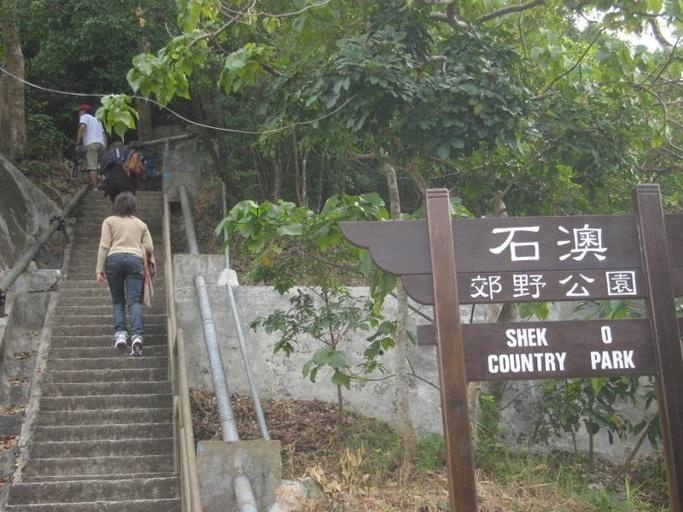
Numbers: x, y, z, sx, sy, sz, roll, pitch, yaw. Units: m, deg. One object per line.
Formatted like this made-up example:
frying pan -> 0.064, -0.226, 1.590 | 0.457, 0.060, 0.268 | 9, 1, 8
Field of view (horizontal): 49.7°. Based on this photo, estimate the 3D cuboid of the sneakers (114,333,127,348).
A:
sneakers -> -2.822, 1.102, 9.364 | 0.104, 0.113, 0.235 | 0, -16, -29

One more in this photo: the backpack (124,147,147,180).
backpack -> -3.278, -1.430, 11.562 | 0.347, 0.400, 0.314 | 4, 11, -31

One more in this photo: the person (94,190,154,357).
person -> -2.748, 0.228, 9.484 | 1.081, 1.932, 0.648 | 18, 13, 42

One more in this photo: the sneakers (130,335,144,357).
sneakers -> -2.567, 1.131, 9.223 | 0.115, 0.339, 0.145 | 0, 26, -17

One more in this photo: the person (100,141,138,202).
person -> -3.529, -1.450, 11.727 | 0.410, 0.738, 1.352 | 0, 36, -14
